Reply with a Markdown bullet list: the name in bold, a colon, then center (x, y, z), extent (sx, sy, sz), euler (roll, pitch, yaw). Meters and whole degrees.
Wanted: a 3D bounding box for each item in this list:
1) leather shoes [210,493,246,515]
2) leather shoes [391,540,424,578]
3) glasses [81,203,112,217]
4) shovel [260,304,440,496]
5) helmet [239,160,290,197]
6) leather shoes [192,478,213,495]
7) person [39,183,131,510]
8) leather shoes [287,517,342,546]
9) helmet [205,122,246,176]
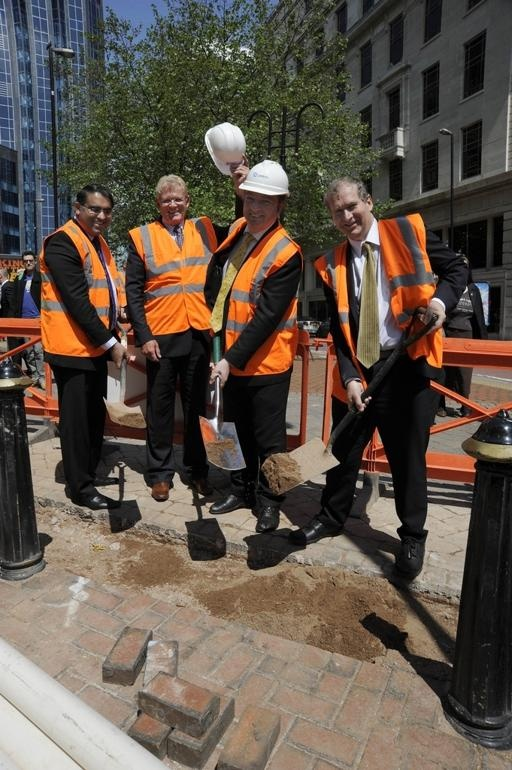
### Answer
- **leather shoes**: center (-0.186, 0.808, 3.825), extent (0.268, 0.100, 0.094), euler (3, 5, -45)
- **leather shoes**: center (0.811, 0.898, 2.961), extent (0.148, 0.167, 0.248), euler (4, 7, 16)
- **glasses**: center (-1.054, -1.140, 3.668), extent (0.110, 0.034, 0.111), euler (-5, 5, -37)
- **shovel**: center (0.435, 0.065, 2.849), extent (0.769, 0.888, 0.474), euler (2, 7, -1)
- **helmet**: center (0.058, -1.192, 3.234), extent (0.278, 0.236, 0.241), euler (1, 7, -10)
- **leather shoes**: center (-0.397, 0.760, 4.158), extent (0.085, 0.071, 0.175), euler (-9, 0, -33)
- **person**: center (-1.160, -0.246, 3.880), extent (0.567, 2.133, 0.600), euler (3, 8, 7)
- **leather shoes**: center (0.336, 0.832, 3.242), extent (0.385, 0.145, 0.124), euler (-2, 2, -29)
- **helmet**: center (-0.207, -1.587, 3.844), extent (0.271, 0.348, 0.148), euler (-23, 28, -11)
